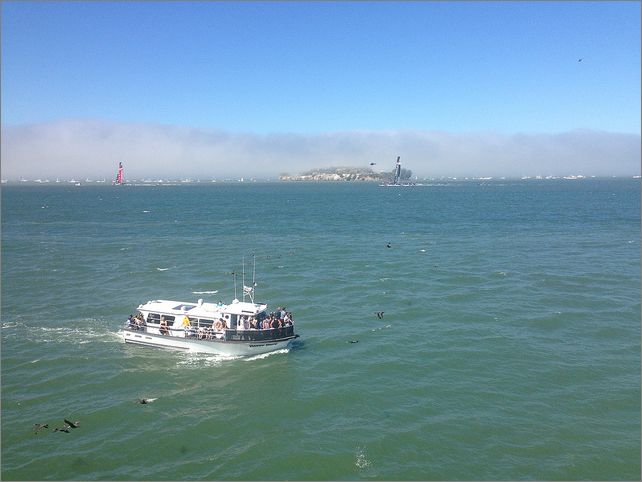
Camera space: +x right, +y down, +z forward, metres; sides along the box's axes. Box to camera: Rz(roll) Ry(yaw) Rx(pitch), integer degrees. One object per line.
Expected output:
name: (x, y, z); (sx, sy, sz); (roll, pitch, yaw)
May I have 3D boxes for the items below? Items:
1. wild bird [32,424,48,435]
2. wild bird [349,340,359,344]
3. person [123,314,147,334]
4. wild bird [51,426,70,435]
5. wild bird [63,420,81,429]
wild bird: (-22.781, 15.281, 47.623); (0.412, 0.755, 0.818); (7, 2, -3)
wild bird: (3.278, 10.132, 58.670); (0.815, 0.480, 0.267); (3, 8, 10)
person: (-18.656, 8.268, 58.972); (1.565, 0.874, 2.134); (0, 18, -20)
wild bird: (-21.082, 15.425, 47.593); (1.176, 0.608, 0.486); (-1, 0, 4)
wild bird: (-20.281, 15.081, 47.880); (1.023, 0.589, 0.806); (-4, 9, 42)
